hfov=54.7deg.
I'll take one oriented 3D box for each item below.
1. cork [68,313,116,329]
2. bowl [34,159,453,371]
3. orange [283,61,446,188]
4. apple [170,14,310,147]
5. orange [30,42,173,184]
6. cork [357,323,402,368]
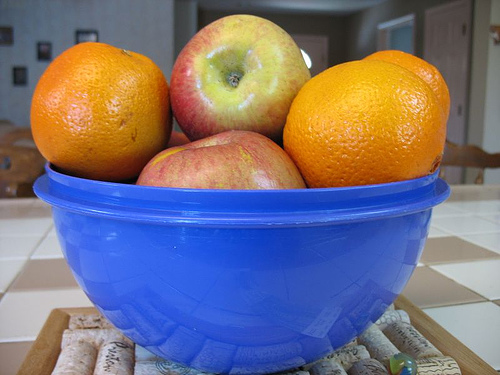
[{"bbox_3d":[-0.195,0.163,0.592,0.060,0.018,0.052,3,-4,-7],"label":"cork"},{"bbox_3d":[-0.018,0.089,0.454,0.402,0.203,0.108,1,13,2],"label":"bowl"},{"bbox_3d":[0.122,-0.058,0.493,0.135,0.141,0.131,-5,1,2],"label":"orange"},{"bbox_3d":[-0.014,-0.119,0.593,0.143,0.143,0.137,34,-5,-3],"label":"apple"},{"bbox_3d":[-0.167,-0.084,0.555,0.156,0.157,0.165,1,0,-6],"label":"orange"},{"bbox_3d":[0.152,0.186,0.574,0.024,0.018,0.046,4,9,-13],"label":"cork"}]
